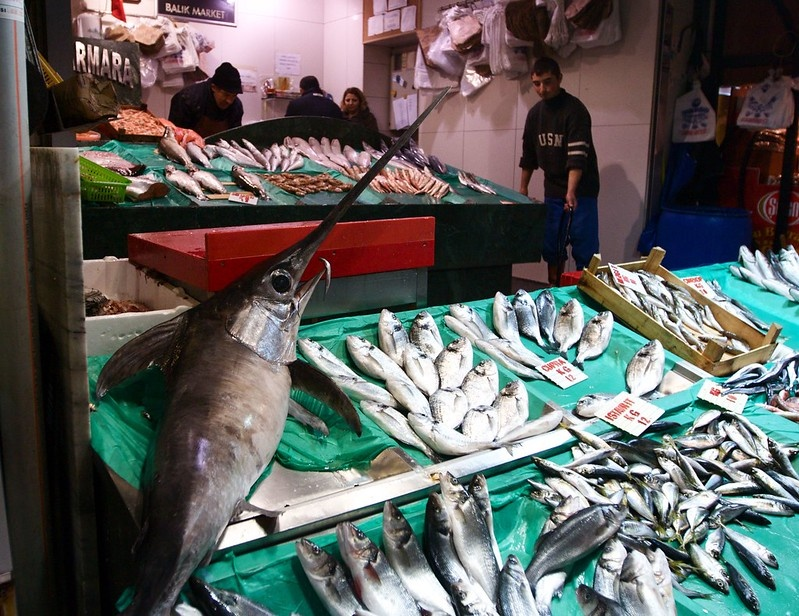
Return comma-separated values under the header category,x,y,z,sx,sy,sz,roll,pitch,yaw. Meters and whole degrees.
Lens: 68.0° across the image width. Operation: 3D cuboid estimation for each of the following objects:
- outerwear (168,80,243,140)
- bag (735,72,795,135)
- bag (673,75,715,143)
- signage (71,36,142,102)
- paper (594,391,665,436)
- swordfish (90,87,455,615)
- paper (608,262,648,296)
category,x,y,z,sx,sy,sz,roll,pitch,yaw
outerwear,-1.720,-1.785,5.330,0.604,0.396,0.601,-5,-12,-19
bag,3.145,-1.749,5.060,0.180,0.518,0.432,-7,20,-29
bag,2.635,-1.704,5.284,0.336,0.584,0.172,6,-7,9
signage,-1.450,-1.162,2.906,0.314,0.368,0.006,2,-17,-33
paper,0.777,0.357,1.977,0.207,0.010,0.189,-17,27,-29
swordfish,-0.272,-0.035,1.649,0.356,0.384,1.559,-35,23,46
paper,1.101,-0.136,2.866,0.169,0.133,0.014,16,-46,-31
